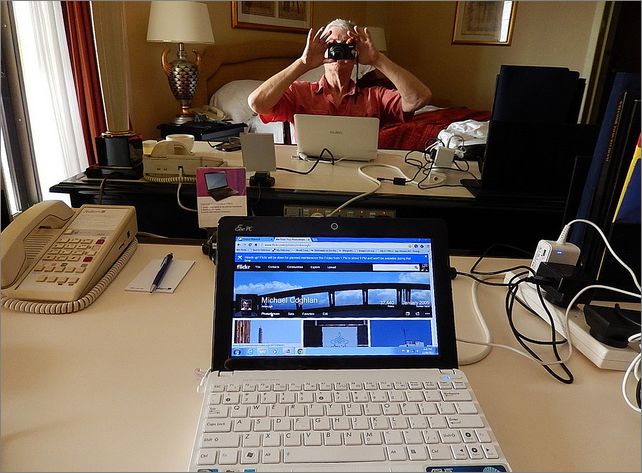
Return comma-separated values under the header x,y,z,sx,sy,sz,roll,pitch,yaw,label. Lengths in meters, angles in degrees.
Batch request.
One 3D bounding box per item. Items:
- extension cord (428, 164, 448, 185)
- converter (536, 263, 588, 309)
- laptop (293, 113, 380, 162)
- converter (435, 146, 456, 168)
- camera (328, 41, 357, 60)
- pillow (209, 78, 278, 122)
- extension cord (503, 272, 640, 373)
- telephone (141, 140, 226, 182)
x,y,z,sx,sy,sz,roll,pitch,yaw,label
0.469,-0.248,1.932,0.074,0.068,0.087,3,28,3,extension cord
0.551,0.106,1.110,0.081,0.082,0.111,-1,9,-11,converter
0.075,-0.430,2.053,0.380,0.193,0.227,4,23,-4,laptop
0.493,-0.317,1.931,0.104,0.063,0.058,9,3,-6,converter
0.094,-0.889,2.300,0.150,0.076,0.074,3,28,2,camera
-0.707,-1.171,4.044,0.678,0.356,0.469,-19,33,-39,pillow
0.570,0.176,1.037,0.139,0.037,0.212,-2,38,-28,extension cord
-0.525,-0.277,1.850,0.286,0.112,0.210,1,20,-5,telephone
